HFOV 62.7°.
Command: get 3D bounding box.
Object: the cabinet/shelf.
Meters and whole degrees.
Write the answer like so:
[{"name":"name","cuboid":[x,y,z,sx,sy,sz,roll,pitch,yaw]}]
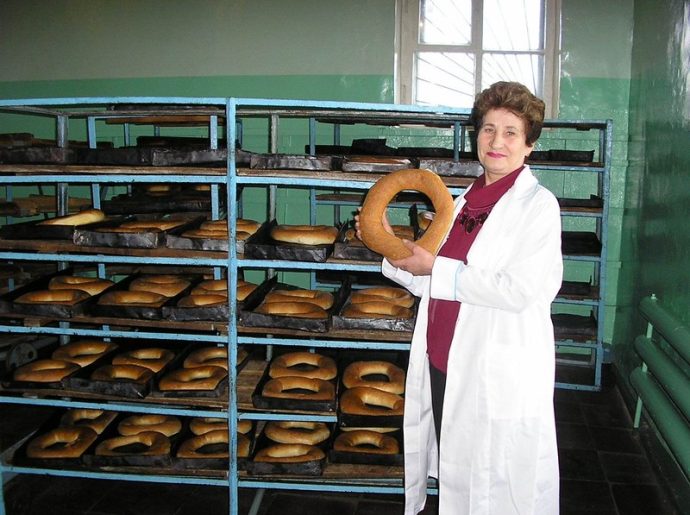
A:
[{"name":"cabinet/shelf","cuboid":[-0.318,0.363,3.610,3.983,2.321,1.288,1,6,3]}]
